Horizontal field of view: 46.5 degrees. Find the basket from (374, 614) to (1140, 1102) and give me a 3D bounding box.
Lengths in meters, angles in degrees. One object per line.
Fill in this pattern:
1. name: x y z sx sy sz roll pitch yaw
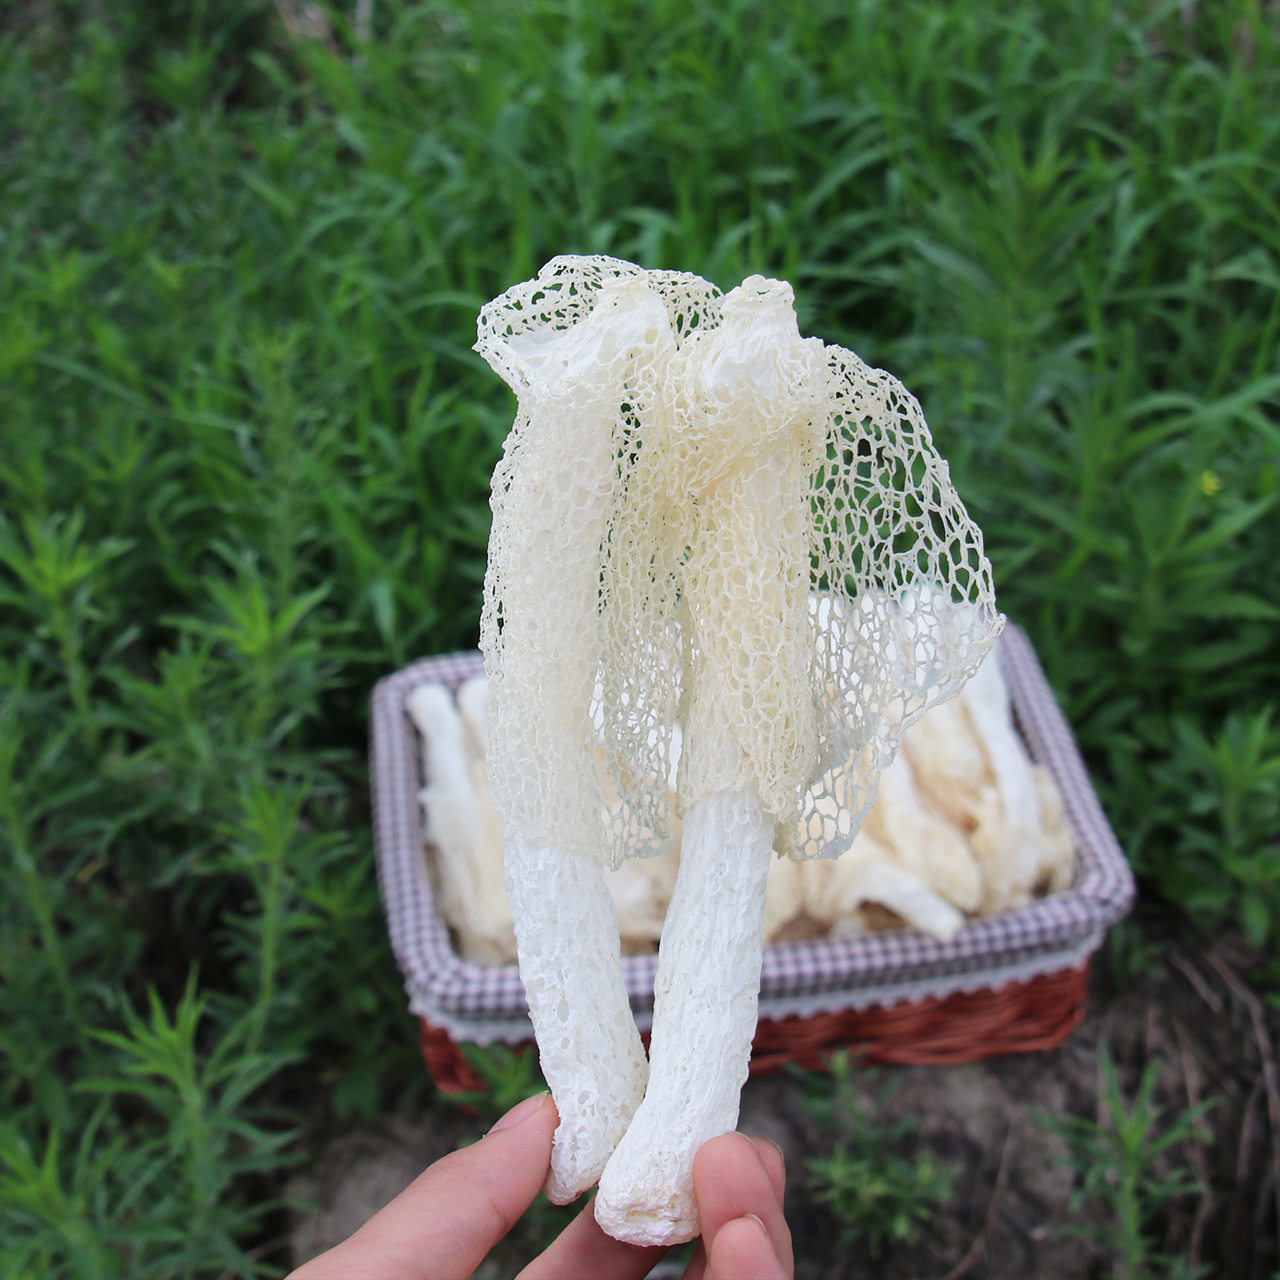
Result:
1. basket: 0.095 0.203 1.243 0.493 0.193 0.354 -5 33 -6
